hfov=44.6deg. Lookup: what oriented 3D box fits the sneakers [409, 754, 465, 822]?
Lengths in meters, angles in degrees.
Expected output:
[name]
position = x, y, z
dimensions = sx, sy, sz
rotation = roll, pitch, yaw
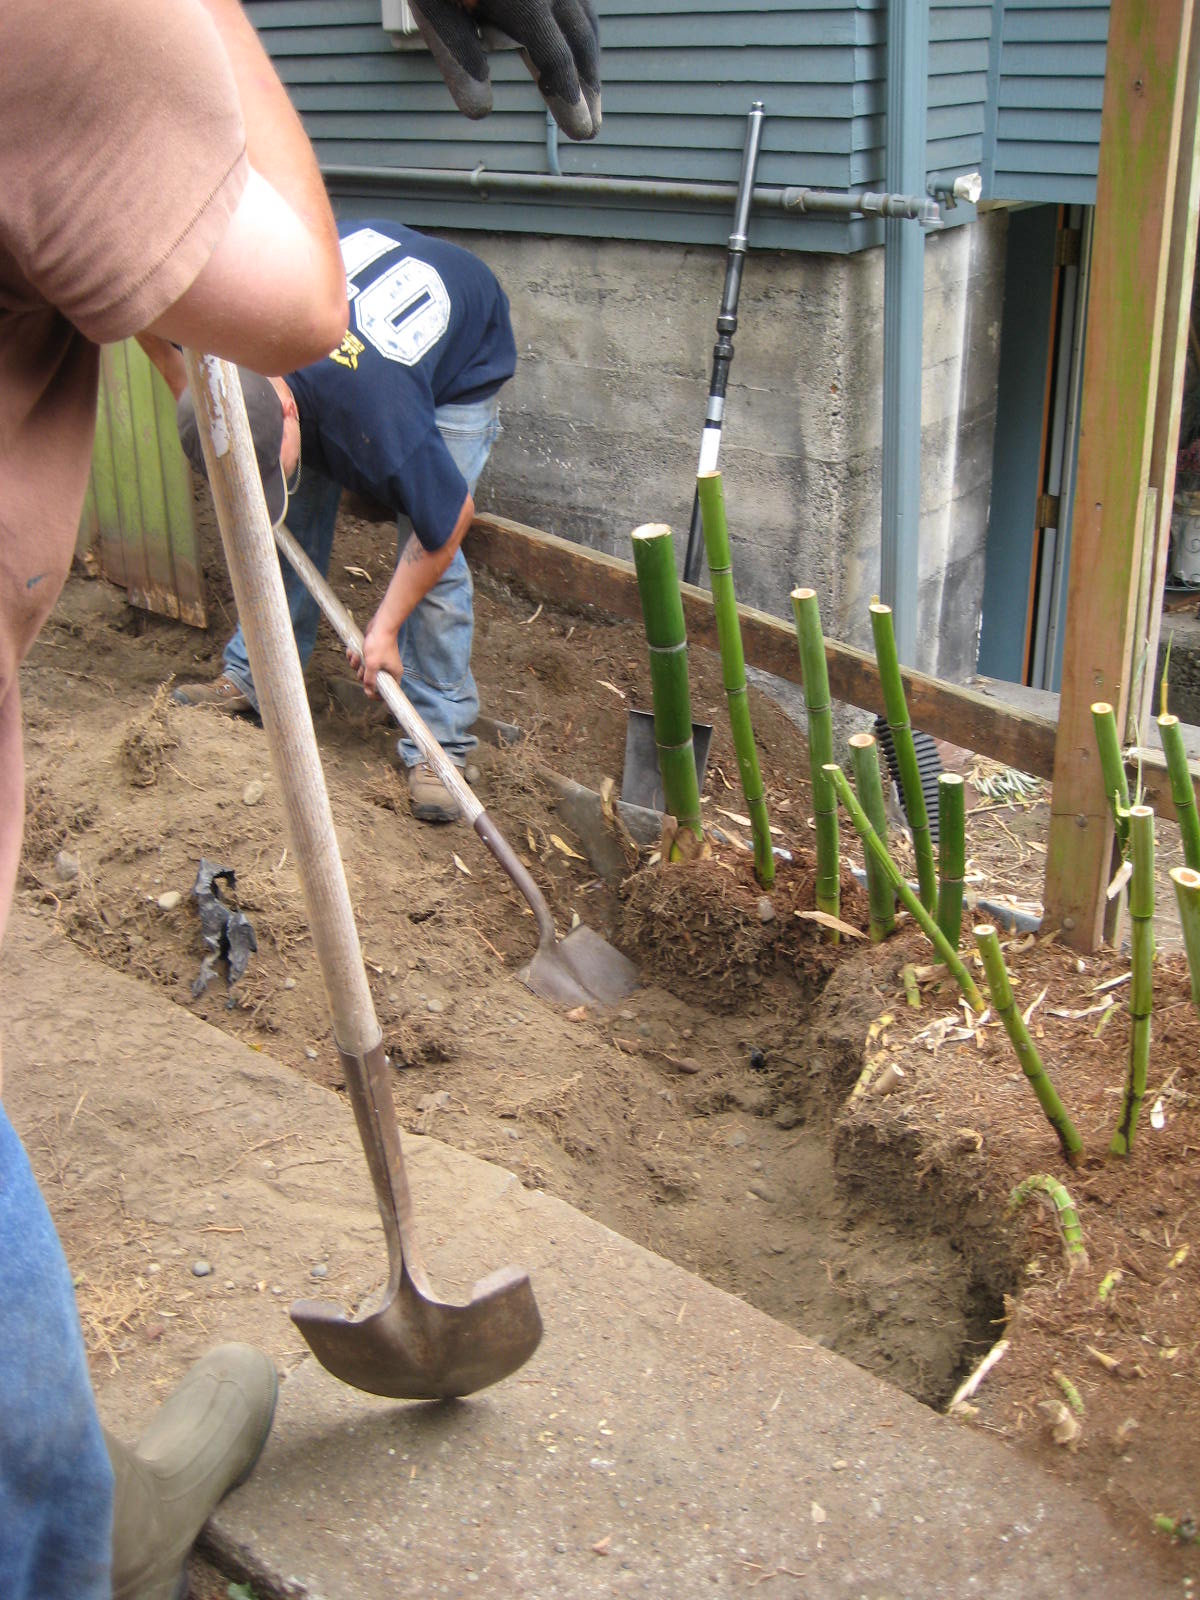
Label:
[sneakers]
position = -0.480, -0.031, 4.142
dimensions = 0.089, 0.094, 0.231
rotation = -17, 32, -19
